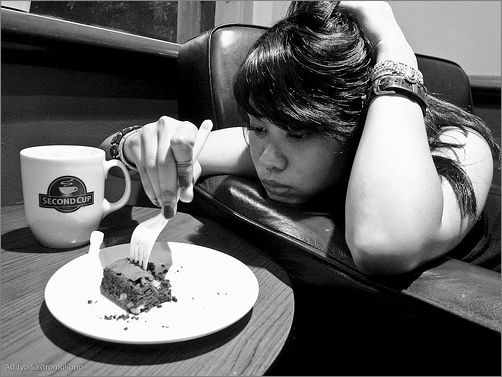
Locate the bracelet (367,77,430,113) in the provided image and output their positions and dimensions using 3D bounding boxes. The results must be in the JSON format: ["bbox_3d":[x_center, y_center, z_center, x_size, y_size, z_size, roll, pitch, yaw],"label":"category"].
[{"bbox_3d":[0.333,-0.219,0.857,0.121,0.070,0.118,11,-1,-43],"label":"bracelet"}]

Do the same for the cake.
[{"bbox_3d":[-0.198,0.164,0.686,0.089,0.044,0.088,28,28,30],"label":"cake"}]
